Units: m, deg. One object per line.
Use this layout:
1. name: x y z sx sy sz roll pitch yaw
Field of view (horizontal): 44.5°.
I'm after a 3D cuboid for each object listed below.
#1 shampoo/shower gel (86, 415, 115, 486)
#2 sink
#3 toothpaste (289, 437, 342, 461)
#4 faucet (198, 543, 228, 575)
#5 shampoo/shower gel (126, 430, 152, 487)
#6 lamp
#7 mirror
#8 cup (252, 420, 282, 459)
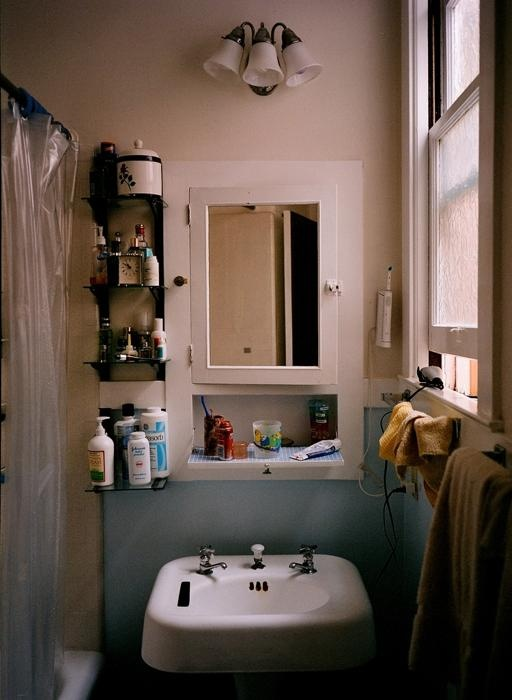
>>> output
1. shampoo/shower gel: -0.451 0.293 1.812 0.074 0.193 0.121 -4 3 -17
2. sink: 0.001 0.702 1.671 0.577 0.208 0.387 -4 4 -3
3. toothpaste: 0.175 0.288 1.845 0.115 0.033 0.062 -18 11 -28
4. faucet: -0.131 0.600 1.786 0.046 0.070 0.084 2 -5 -40
5. shampoo/shower gel: -0.332 0.315 1.798 0.073 0.155 0.051 -4 3 -27
6. lamp: 0.019 -0.808 1.747 0.318 0.244 0.186 -1 -6 -2
7. mirror: 0.037 -0.202 1.851 0.421 0.662 0.031 0 0 2
8. cup: 0.026 0.265 1.832 0.079 0.098 0.080 1 1 0
